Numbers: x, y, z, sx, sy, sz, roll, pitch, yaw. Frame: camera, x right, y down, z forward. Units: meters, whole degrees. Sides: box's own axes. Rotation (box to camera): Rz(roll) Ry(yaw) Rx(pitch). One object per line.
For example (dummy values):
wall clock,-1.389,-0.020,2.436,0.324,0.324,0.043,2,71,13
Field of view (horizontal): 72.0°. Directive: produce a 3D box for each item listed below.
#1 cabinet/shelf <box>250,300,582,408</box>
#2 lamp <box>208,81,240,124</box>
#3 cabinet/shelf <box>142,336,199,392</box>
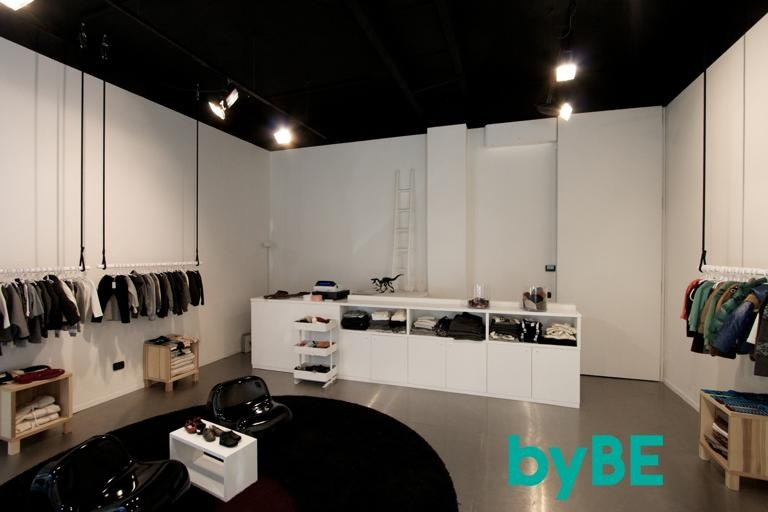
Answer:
cabinet/shelf,0.429,1.303,7.732,4.533,1.429,0.617,-1,2,12
lamp,-2.252,-2.200,7.433,0.441,0.451,0.169,-31,-29,-14
cabinet/shelf,-3.133,1.475,7.786,0.642,0.978,0.879,-1,-1,25
